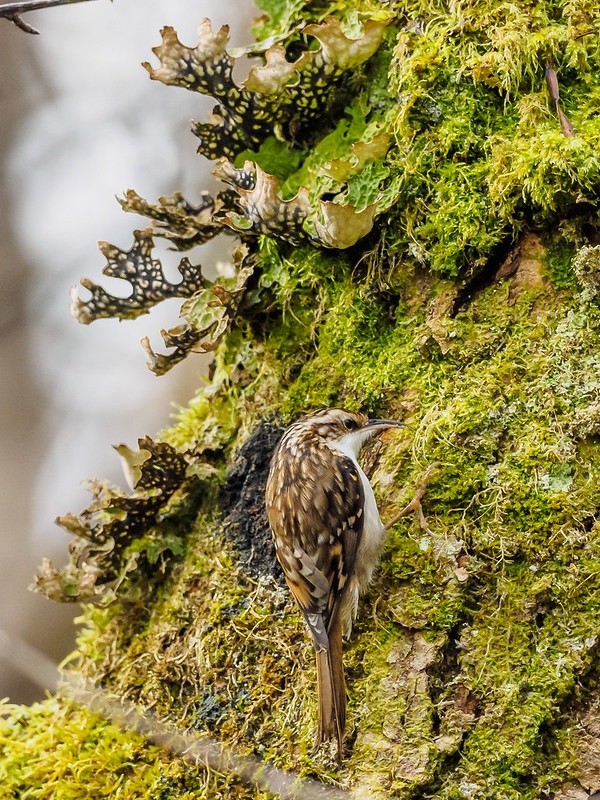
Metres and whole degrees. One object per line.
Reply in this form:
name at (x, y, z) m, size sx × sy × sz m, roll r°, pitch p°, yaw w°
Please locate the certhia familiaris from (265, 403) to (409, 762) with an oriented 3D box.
certhia familiaris at (0.155, 0.508, 4.107) m, size 0.433 × 1.005 × 0.208 m, roll -19°, pitch -29°, yaw 13°
